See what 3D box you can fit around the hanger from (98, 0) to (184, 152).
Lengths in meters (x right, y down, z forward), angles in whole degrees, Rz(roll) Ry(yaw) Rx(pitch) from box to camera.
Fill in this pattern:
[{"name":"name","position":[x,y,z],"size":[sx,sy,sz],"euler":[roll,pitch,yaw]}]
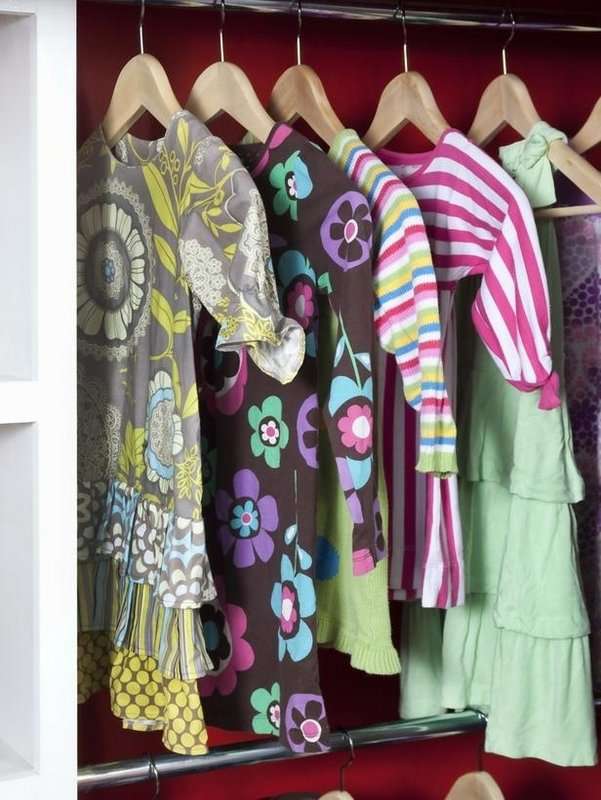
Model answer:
[{"name":"hanger","position":[-0.157,-0.342,0.908],"size":[0.068,0.142,0.134],"euler":[5,-10,-35]}]

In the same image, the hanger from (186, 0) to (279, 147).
[{"name":"hanger","position":[-0.081,-0.338,0.900],"size":[0.154,0.113,0.011],"euler":[22,31,36]}]

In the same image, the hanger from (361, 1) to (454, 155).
[{"name":"hanger","position":[0.128,-0.337,1.021],"size":[0.046,0.104,0.135],"euler":[5,-10,-38]}]

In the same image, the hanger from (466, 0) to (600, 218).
[{"name":"hanger","position":[0.298,-0.357,1.114],"size":[0.159,0.309,0.245],"euler":[-3,-8,16]}]
